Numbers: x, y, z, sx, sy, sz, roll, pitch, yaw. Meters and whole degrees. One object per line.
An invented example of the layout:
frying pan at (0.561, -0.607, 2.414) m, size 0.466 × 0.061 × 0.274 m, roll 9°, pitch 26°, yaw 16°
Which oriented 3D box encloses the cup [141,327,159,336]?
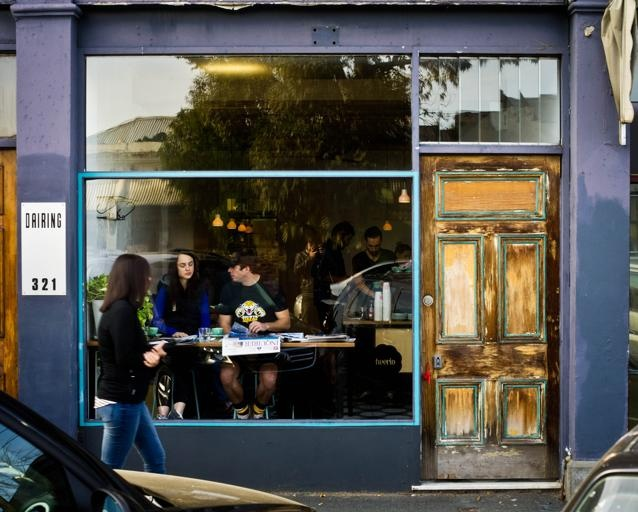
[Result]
cup at (-1.630, 0.733, 10.626) m, size 0.091 × 0.070 × 0.102 m, roll 1°, pitch -10°, yaw 3°

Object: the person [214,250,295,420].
person at (-0.641, 0.840, 10.645) m, size 0.815 × 2.170 × 1.047 m, roll -2°, pitch -29°, yaw 1°

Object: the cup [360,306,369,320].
cup at (0.445, 0.555, 10.663) m, size 0.108 × 0.133 × 0.090 m, roll 1°, pitch 0°, yaw 3°

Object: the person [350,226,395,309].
person at (0.609, 0.009, 11.077) m, size 0.581 × 0.908 × 0.632 m, roll -1°, pitch -43°, yaw 1°
